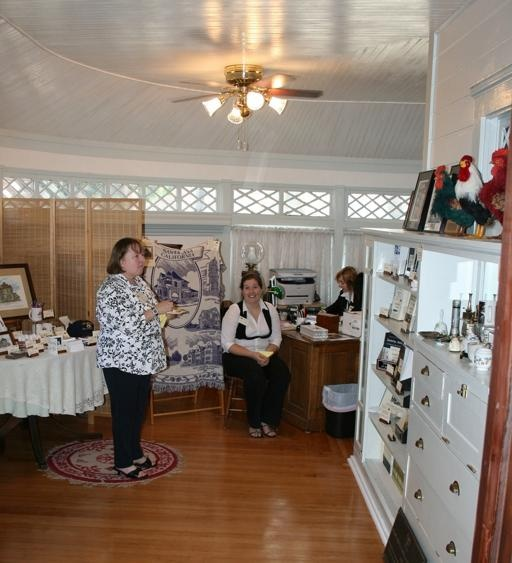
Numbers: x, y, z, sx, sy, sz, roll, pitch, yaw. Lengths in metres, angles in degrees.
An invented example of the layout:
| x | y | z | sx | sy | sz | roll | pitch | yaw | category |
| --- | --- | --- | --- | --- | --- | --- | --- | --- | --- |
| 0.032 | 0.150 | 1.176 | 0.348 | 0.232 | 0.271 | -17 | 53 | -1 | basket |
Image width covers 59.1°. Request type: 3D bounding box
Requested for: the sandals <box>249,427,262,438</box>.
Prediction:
| x | y | z | sx | sy | sz | roll | pitch | yaw | category |
| --- | --- | --- | --- | --- | --- | --- | --- | --- | --- |
| 0.008 | 1.294 | 3.882 | 0.118 | 0.081 | 0.062 | 1 | 3 | -11 | sandals |

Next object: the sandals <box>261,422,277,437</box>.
| x | y | z | sx | sy | sz | roll | pitch | yaw | category |
| --- | --- | --- | --- | --- | --- | --- | --- | --- | --- |
| 0.110 | 1.284 | 3.926 | 0.137 | 0.103 | 0.124 | 2 | 3 | 1 | sandals |

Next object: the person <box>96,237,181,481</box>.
| x | y | z | sx | sy | sz | roll | pitch | yaw | category |
| --- | --- | --- | --- | --- | --- | --- | --- | --- | --- |
| -0.808 | 0.537 | 3.042 | 0.418 | 1.655 | 0.473 | 3 | 3 | 17 | person |

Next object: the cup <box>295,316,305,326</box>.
| x | y | z | sx | sy | sz | roll | pitch | yaw | category |
| --- | --- | --- | --- | --- | --- | --- | --- | --- | --- |
| 0.440 | 0.405 | 4.508 | 0.079 | 0.079 | 0.084 | 1 | -2 | 0 | cup |

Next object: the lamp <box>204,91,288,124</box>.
| x | y | z | sx | sy | sz | roll | pitch | yaw | category |
| --- | --- | --- | --- | --- | --- | --- | --- | --- | --- |
| -0.099 | -1.428 | 3.594 | 0.575 | 0.233 | 0.602 | -2 | -3 | -3 | lamp |

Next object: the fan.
| x | y | z | sx | sy | sz | roll | pitch | yaw | category |
| --- | --- | --- | --- | --- | --- | --- | --- | --- | --- |
| -0.111 | -1.523 | 3.681 | 1.008 | 0.291 | 0.941 | 3 | 7 | 34 | fan |

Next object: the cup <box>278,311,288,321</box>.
| x | y | z | sx | sy | sz | roll | pitch | yaw | category |
| --- | --- | --- | --- | --- | --- | --- | --- | --- | --- |
| 0.296 | 0.362 | 4.887 | 0.093 | 0.086 | 0.160 | -1 | 1 | 1 | cup |

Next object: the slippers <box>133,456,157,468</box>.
| x | y | z | sx | sy | sz | roll | pitch | yaw | category |
| --- | --- | --- | --- | --- | --- | --- | --- | --- | --- |
| -0.810 | 1.325 | 3.314 | 0.183 | 0.062 | 0.056 | 0 | 15 | -22 | slippers |

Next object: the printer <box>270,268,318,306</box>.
| x | y | z | sx | sy | sz | roll | pitch | yaw | category |
| --- | --- | --- | --- | --- | --- | --- | --- | --- | --- |
| 0.530 | 0.045 | 6.118 | 0.587 | 0.380 | 0.546 | 0 | 5 | -5 | printer |

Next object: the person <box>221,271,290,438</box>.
| x | y | z | sx | sy | sz | roll | pitch | yaw | category |
| --- | --- | --- | --- | --- | --- | --- | --- | --- | --- |
| -0.014 | 0.627 | 4.006 | 0.596 | 1.398 | 0.435 | 2 | 3 | -4 | person |

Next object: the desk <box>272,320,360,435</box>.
| x | y | z | sx | sy | sz | roll | pitch | yaw | category |
| --- | --- | --- | --- | --- | --- | --- | --- | --- | --- |
| 0.624 | 0.808 | 4.483 | 0.814 | 0.947 | 1.034 | -2 | 9 | -15 | desk |

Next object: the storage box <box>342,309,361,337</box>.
| x | y | z | sx | sy | sz | roll | pitch | yaw | category |
| --- | --- | --- | --- | --- | --- | --- | --- | --- | --- |
| 0.889 | 0.393 | 4.210 | 0.135 | 0.157 | 0.231 | -3 | 7 | -19 | storage box |
